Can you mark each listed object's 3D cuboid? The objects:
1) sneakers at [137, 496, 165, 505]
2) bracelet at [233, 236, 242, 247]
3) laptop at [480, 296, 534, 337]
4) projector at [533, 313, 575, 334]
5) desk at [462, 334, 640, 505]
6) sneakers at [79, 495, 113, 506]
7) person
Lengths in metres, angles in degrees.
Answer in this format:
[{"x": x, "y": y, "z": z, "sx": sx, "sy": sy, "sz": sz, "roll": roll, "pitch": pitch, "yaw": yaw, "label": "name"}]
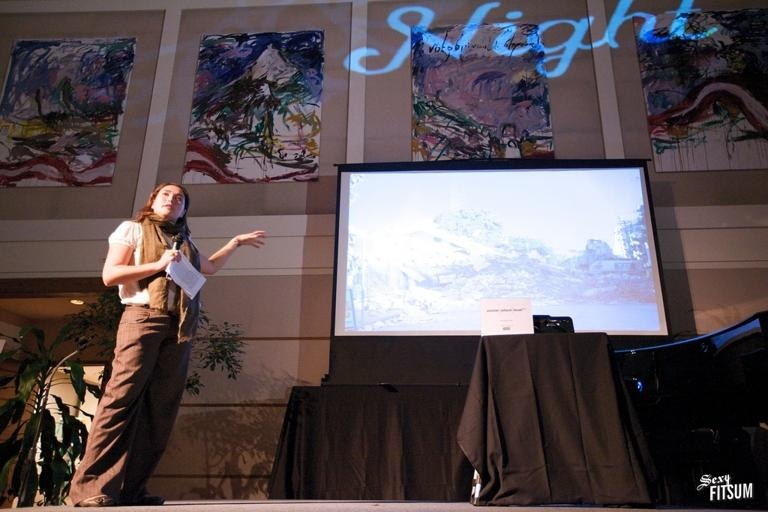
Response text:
[{"x": -1.490, "y": 1.577, "z": 3.674, "sx": 0.161, "sy": 0.059, "sz": 0.056, "roll": 1, "pitch": -10, "yaw": -10, "label": "sneakers"}, {"x": -1.109, "y": -0.097, "z": 4.294, "sx": 0.090, "sy": 0.083, "sz": 0.034, "roll": 2, "pitch": -7, "yaw": -23, "label": "bracelet"}, {"x": 0.826, "y": 0.410, "z": 3.839, "sx": 0.379, "sy": 0.247, "sz": 0.033, "roll": -1, "pitch": 1, "yaw": -9, "label": "laptop"}, {"x": 1.218, "y": 0.501, "z": 4.174, "sx": 0.301, "sy": 0.120, "sz": 0.117, "roll": 3, "pitch": -16, "yaw": -12, "label": "projector"}, {"x": 1.058, "y": 1.090, "z": 3.975, "sx": 1.162, "sy": 0.963, "sz": 1.004, "roll": 0, "pitch": -20, "yaw": 1, "label": "desk"}, {"x": -1.729, "y": 1.464, "z": 3.408, "sx": 0.151, "sy": 0.046, "sz": 0.081, "roll": -3, "pitch": -12, "yaw": -7, "label": "sneakers"}, {"x": -1.549, "y": 0.513, "z": 3.747, "sx": 0.706, "sy": 2.127, "sz": 0.544, "roll": 3, "pitch": -16, "yaw": -11, "label": "person"}]
